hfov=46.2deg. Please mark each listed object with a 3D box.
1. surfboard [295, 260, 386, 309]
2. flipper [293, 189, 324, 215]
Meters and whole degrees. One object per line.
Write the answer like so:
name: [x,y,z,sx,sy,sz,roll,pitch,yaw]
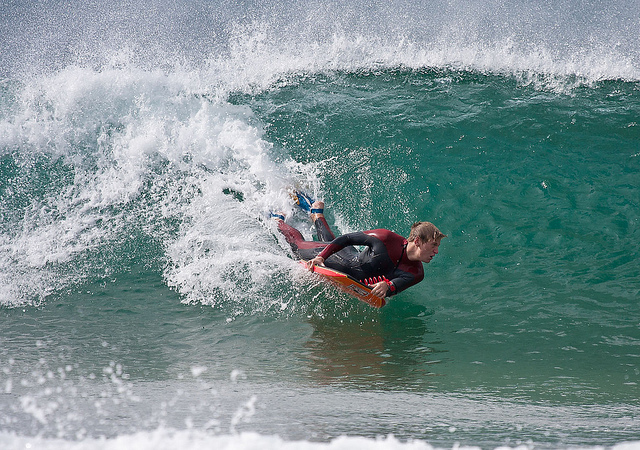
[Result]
surfboard: [0.489,1.195,14.910,2.379,0.574,0.244,18,82,28]
flipper: [-0.249,-0.470,16.492,0.663,0.153,0.390,33,38,29]
